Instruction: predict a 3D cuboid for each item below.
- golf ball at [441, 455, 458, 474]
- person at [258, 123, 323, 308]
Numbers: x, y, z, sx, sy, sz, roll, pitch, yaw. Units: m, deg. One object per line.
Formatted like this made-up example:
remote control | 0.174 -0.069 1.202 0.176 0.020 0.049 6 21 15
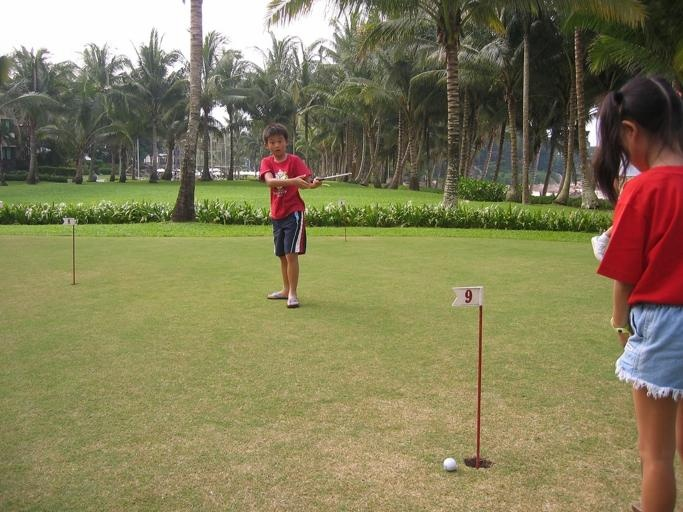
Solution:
golf ball | 0.690 1.312 3.758 0.097 0.064 0.163 2 10 10
person | -0.711 -0.528 7.478 0.603 2.235 0.859 -6 10 -35
